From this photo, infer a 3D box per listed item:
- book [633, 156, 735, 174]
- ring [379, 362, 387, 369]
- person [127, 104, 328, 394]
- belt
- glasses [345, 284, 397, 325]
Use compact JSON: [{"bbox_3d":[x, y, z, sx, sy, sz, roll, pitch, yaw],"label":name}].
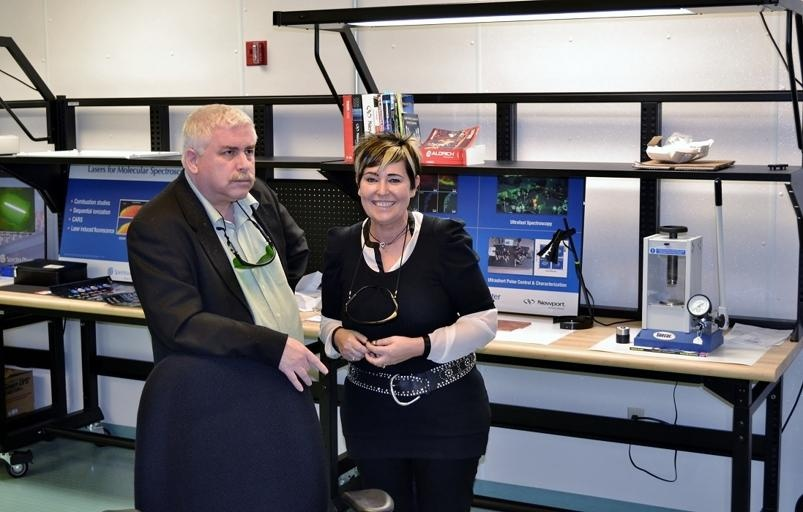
[{"bbox_3d":[1.360,-0.426,3.052,0.461,0.048,0.250,-3,12,-12],"label":"book"},{"bbox_3d":[-0.067,0.409,2.420,0.032,0.012,0.042,-1,-6,-2],"label":"ring"},{"bbox_3d":[-0.594,-0.063,2.129,0.559,0.849,0.561,-5,12,-22],"label":"person"},{"bbox_3d":[0.039,0.468,2.500,0.505,0.166,0.166,-1,11,-1],"label":"belt"},{"bbox_3d":[-0.109,0.186,2.470,0.218,0.141,0.050,-4,-5,21],"label":"glasses"}]
